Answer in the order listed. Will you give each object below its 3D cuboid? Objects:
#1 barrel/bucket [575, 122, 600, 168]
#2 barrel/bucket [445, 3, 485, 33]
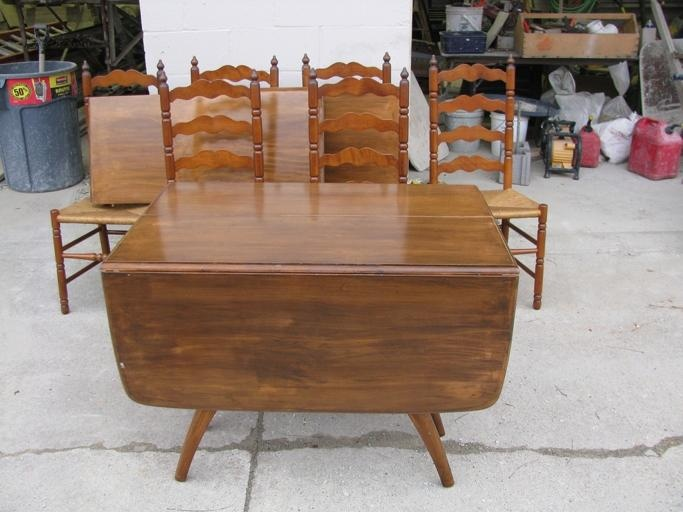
[{"bbox_3d":[2.540,-1.157,6.529,0.197,0.483,0.172,-2,22,3],"label":"barrel/bucket"},{"bbox_3d":[1.362,-2.664,7.122,0.392,0.298,0.331,1,20,10],"label":"barrel/bucket"}]
